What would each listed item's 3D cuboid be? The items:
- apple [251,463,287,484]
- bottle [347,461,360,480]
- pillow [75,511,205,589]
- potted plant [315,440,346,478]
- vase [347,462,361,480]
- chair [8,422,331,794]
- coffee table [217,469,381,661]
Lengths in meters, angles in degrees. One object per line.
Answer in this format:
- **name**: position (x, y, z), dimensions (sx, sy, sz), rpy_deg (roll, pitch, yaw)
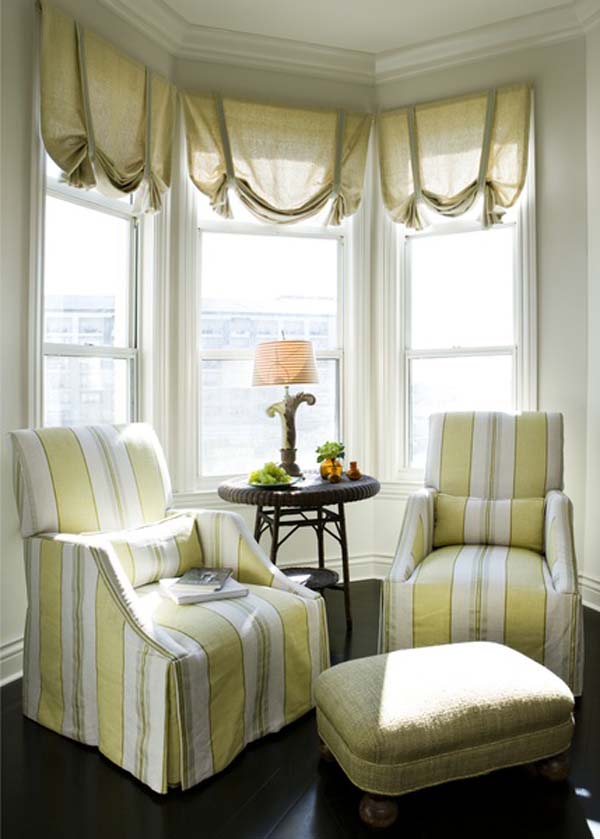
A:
- **apple**: position (-0.122, 0.228, 2.842), dimensions (0.089, 0.060, 0.098), rpy_deg (1, 1, 2)
- **bottle**: position (0.239, 0.223, 3.099), dimensions (0.057, 0.097, 0.072), rpy_deg (-2, 3, 5)
- **pillow**: position (-0.478, 0.439, 2.301), dimensions (0.342, 0.226, 0.111), rpy_deg (-14, 13, -30)
- **potted plant**: position (0.160, 0.169, 3.124), dimensions (0.129, 0.206, 0.140), rpy_deg (3, -1, -25)
- **vase**: position (0.238, 0.224, 3.093), dimensions (0.057, 0.097, 0.071), rpy_deg (-2, 3, 6)
- **chair**: position (-0.427, 0.482, 2.196), dimensions (0.799, 0.890, 0.626), rpy_deg (3, 4, 38)
- **coffee table**: position (-0.044, 0.531, 3.038), dimensions (0.604, 0.770, 0.653), rpy_deg (-2, 1, -11)
